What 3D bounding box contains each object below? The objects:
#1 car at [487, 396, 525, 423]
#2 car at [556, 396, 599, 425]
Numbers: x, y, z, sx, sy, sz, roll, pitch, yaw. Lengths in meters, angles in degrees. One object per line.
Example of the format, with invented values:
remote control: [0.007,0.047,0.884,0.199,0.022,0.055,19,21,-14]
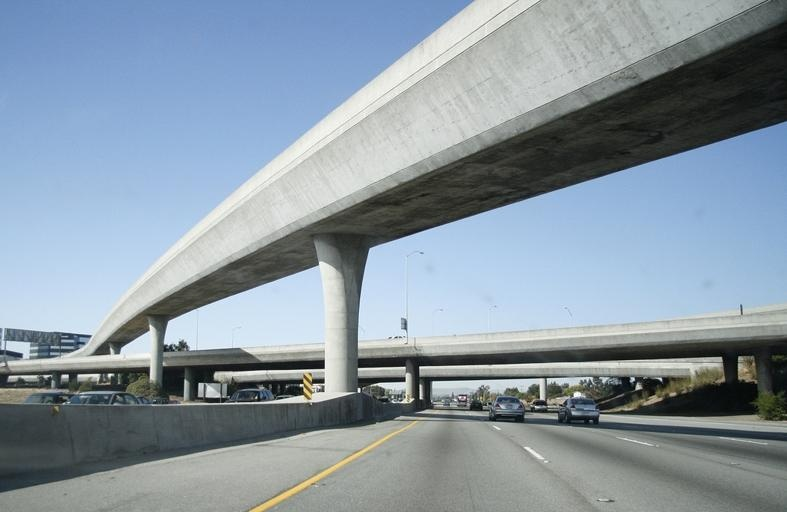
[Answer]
car: [7.750,10.591,41.910,2.626,1.774,1.201,-16,-18,41]
car: [12.035,10.223,39.973,2.121,1.795,2.610,-4,-14,0]
